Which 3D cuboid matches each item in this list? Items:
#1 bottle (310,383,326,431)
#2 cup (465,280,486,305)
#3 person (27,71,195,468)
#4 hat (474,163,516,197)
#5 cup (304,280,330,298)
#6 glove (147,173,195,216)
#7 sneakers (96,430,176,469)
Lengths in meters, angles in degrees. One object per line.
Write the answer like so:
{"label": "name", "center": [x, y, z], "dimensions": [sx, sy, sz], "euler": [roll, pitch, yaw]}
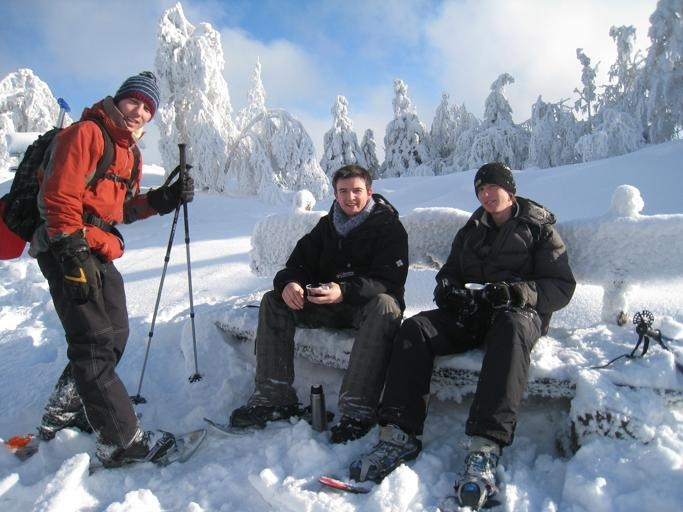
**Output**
{"label": "bottle", "center": [-0.173, 1.195, 4.390], "dimensions": [0.125, 0.356, 0.179], "euler": [0, 10, -4]}
{"label": "cup", "center": [1.065, 0.298, 4.474], "dimensions": [0.156, 0.153, 0.152], "euler": [0, -9, 0]}
{"label": "person", "center": [-1.787, 0.010, 4.436], "dimensions": [0.988, 2.939, 1.086], "euler": [2, 9, 6]}
{"label": "hat", "center": [1.363, -0.691, 5.004], "dimensions": [0.295, 0.264, 0.295], "euler": [18, -22, -23]}
{"label": "cup", "center": [-0.228, 0.269, 4.863], "dimensions": [0.180, 0.127, 0.552], "euler": [0, 11, -6]}
{"label": "glove", "center": [-1.512, -0.623, 5.130], "dimensions": [0.247, 0.197, 0.436], "euler": [-14, -7, -37]}
{"label": "sneakers", "center": [-1.525, 1.460, 4.203], "dimensions": [0.483, 0.202, 0.274], "euler": [4, 4, -38]}
